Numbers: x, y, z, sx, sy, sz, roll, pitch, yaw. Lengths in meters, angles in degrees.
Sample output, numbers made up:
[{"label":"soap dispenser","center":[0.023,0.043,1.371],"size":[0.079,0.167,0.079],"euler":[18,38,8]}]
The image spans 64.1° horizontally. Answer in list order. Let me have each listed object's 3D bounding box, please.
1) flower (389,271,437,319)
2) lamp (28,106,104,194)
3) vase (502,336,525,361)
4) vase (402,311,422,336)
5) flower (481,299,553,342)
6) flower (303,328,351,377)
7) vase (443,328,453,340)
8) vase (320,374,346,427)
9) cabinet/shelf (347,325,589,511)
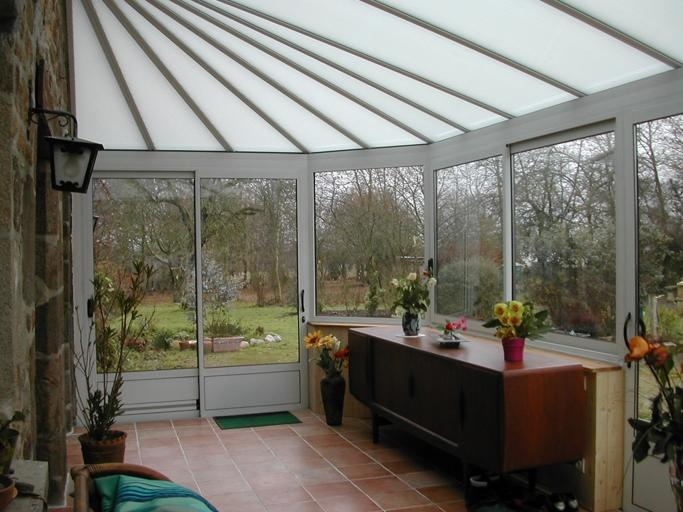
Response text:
[{"label":"flower","center":[0.845,0.425,5.481],"size":[0.350,0.431,0.362],"euler":[7,-15,44]},{"label":"lamp","center":[-1.842,-0.714,3.604],"size":[0.477,0.702,0.341],"euler":[3,-18,-24]},{"label":"vase","center":[1.311,0.710,4.216],"size":[0.166,0.143,0.163],"euler":[0,-2,-16]},{"label":"vase","center":[0.683,0.670,5.518],"size":[0.195,0.323,0.211],"euler":[1,-1,-30]},{"label":"flower","center":[1.436,0.488,4.252],"size":[0.443,0.324,0.485],"euler":[-5,7,2]},{"label":"flower","center":[-0.149,1.151,6.365],"size":[0.717,0.545,0.444],"euler":[0,2,27]},{"label":"vase","center":[0.928,0.688,4.790],"size":[0.074,0.082,0.078],"euler":[-2,-10,22]},{"label":"vase","center":[-0.110,1.615,6.167],"size":[0.264,0.576,0.190],"euler":[-1,2,-7]},{"label":"cabinet/shelf","center":[0.929,1.338,5.087],"size":[0.805,1.093,2.587],"euler":[1,-1,-25]}]
